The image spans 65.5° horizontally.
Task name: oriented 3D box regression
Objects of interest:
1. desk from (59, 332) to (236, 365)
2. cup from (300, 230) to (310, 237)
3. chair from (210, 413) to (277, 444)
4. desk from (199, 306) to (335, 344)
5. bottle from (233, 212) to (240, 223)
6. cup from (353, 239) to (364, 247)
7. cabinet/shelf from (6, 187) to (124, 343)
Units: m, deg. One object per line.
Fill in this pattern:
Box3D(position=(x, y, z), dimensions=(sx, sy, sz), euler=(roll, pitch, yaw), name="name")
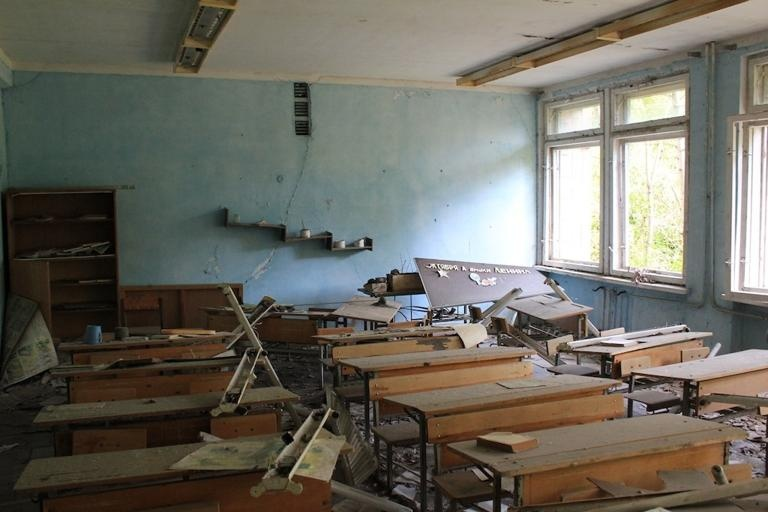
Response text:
Box3D(position=(-2.250, 0.883, 5.657), dimensions=(1.151, 0.187, 0.393), euler=(-1, 8, -16), name="desk")
Box3D(position=(-1.052, -0.294, 8.096), dimensions=(0.076, 0.122, 0.133), euler=(2, 3, 42), name="cup")
Box3D(position=(-0.990, 1.207, 4.245), dimensions=(0.357, 0.151, 0.304), euler=(0, -2, -18), name="chair")
Box3D(position=(-1.439, 0.860, 6.998), dimensions=(1.488, 0.348, 0.347), euler=(2, 3, -1), name="desk")
Box3D(position=(-1.937, -0.487, 7.859), dimensions=(0.124, 0.130, 0.106), euler=(2, -3, -14), name="bottle")
Box3D(position=(-0.350, -0.174, 8.346), dimensions=(0.131, 0.066, 0.108), euler=(1, 1, -8), name="cup")
Box3D(position=(-3.883, 0.111, 7.248), dimensions=(1.212, 1.847, 0.528), euler=(-1, 3, -25), name="cabinet/shelf")
